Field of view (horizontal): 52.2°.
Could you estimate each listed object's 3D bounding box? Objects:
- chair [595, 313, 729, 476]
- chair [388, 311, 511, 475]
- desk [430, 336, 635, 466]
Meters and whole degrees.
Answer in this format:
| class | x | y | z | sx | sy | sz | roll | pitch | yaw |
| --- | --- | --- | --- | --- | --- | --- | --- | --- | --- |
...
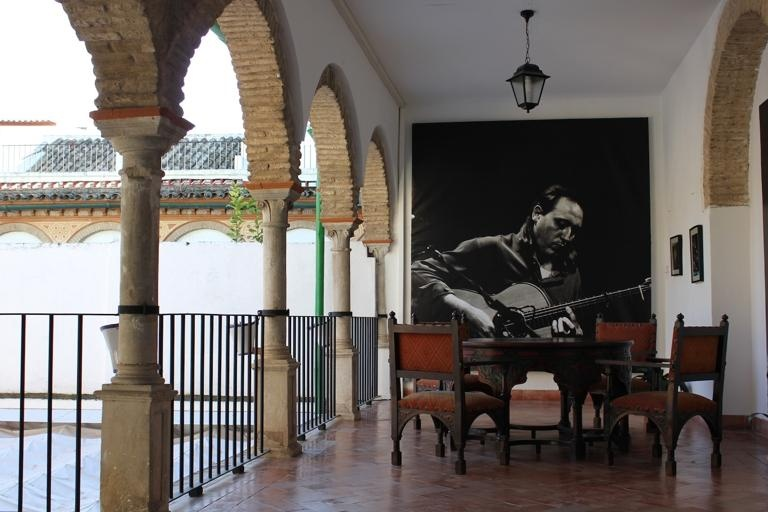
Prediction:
| class | x | y | z | sx | sy | sz | roll | pitch | yaw |
| --- | --- | --- | --- | --- | --- | --- | --- | --- | --- |
| chair | 3.035 | 1.444 | 8.318 | 1.274 | 1.642 | 0.602 | -2 | -4 | 10 |
| chair | 0.670 | 1.451 | 8.280 | 1.218 | 1.616 | 0.595 | -1 | -4 | -1 |
| desk | 1.722 | 1.664 | 9.141 | 1.576 | 0.983 | 1.514 | 4 | -10 | -26 |
